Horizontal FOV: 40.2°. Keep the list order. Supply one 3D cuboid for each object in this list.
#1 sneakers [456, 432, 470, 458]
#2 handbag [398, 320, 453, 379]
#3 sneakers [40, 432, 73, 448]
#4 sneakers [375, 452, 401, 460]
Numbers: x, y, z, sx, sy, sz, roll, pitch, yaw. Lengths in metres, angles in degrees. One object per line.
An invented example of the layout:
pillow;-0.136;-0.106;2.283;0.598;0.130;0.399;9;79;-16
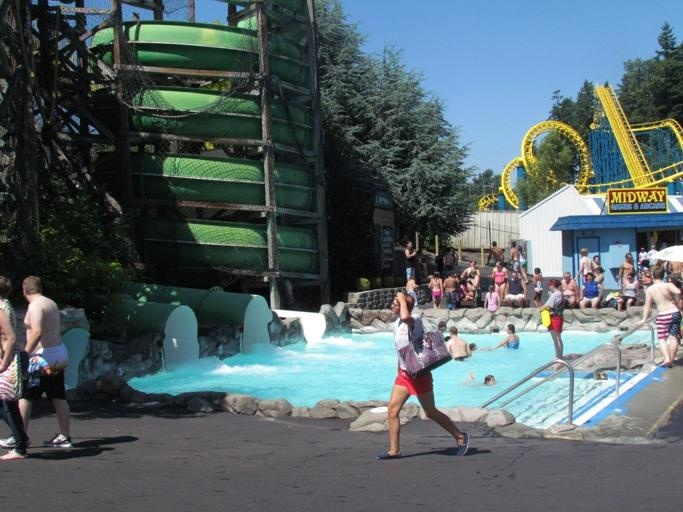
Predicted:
sneakers;2.012;3.124;15.402;0.109;0.428;0.163;7;18;4
handbag;1.304;1.366;15.196;0.758;1.065;0.404;-16;38;9
sneakers;-4.737;3.080;15.614;0.537;0.251;0.208;2;-2;0
sneakers;0.777;3.288;15.363;0.340;0.096;0.142;5;-10;3
